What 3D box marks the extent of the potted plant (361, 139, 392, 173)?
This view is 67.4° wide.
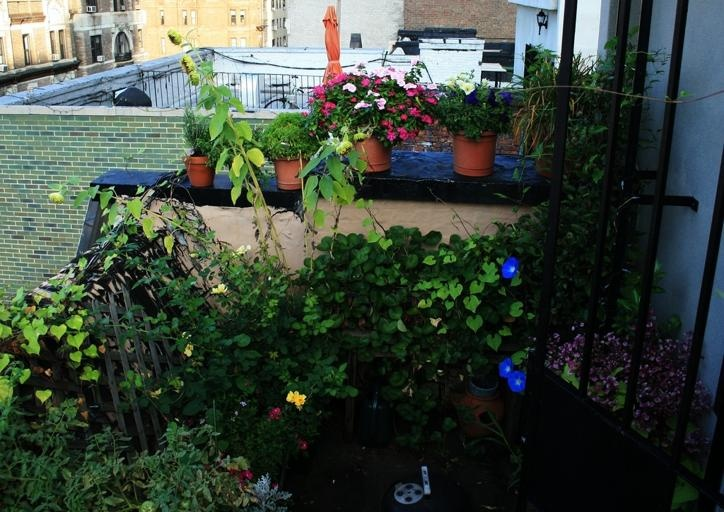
[{"bbox_3d":[0.107,-0.731,3.977,0.216,0.175,0.228,-1,24,0],"label":"potted plant"}]

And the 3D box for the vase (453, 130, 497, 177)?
[{"bbox_3d":[0.863,-0.799,4.097,0.375,0.303,0.386,-15,23,-20],"label":"vase"}]

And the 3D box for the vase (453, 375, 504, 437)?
[{"bbox_3d":[0.833,1.063,4.034,0.373,0.457,0.383,2,5,14],"label":"vase"}]

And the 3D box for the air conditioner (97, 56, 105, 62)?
[{"bbox_3d":[-14.723,-11.257,30.802,0.263,0.367,0.505,-3,28,-10],"label":"air conditioner"}]

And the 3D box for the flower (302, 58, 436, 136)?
[{"bbox_3d":[0.096,-1.085,3.818,0.625,0.352,0.622,-32,39,-28],"label":"flower"}]

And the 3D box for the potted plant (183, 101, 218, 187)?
[{"bbox_3d":[-1.212,-0.790,4.048,0.213,0.595,0.439,-5,16,-16],"label":"potted plant"}]

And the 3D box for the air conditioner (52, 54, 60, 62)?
[{"bbox_3d":[-15.007,-9.739,26.769,0.354,0.366,0.360,1,6,-11],"label":"air conditioner"}]

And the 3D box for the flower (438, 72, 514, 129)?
[{"bbox_3d":[0.782,-1.041,3.810,0.407,0.300,0.424,5,35,-5],"label":"flower"}]
